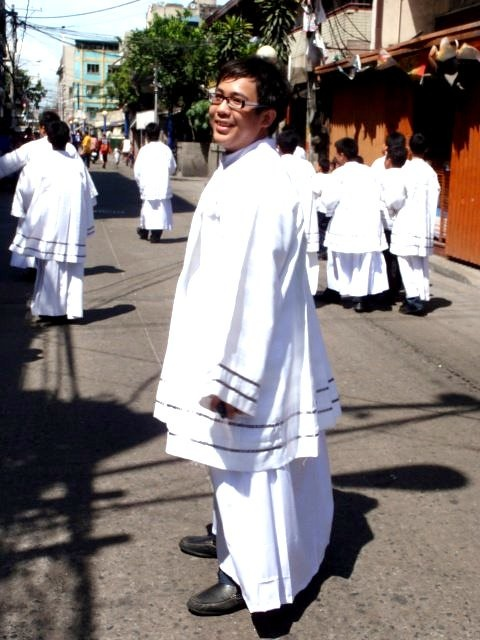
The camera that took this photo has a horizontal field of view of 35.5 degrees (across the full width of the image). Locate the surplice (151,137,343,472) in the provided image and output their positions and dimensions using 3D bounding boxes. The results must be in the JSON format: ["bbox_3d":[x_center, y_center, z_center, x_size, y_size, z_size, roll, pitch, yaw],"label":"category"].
[{"bbox_3d":[0.020,-0.068,2.661,0.764,1.284,0.967,3,10,2],"label":"surplice"}]

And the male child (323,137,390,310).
[{"bbox_3d":[1.267,-1.443,8.136,0.640,0.722,1.777,11,48,-7],"label":"male child"}]

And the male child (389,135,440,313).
[{"bbox_3d":[1.768,-0.979,7.720,0.465,1.834,0.549,3,10,13],"label":"male child"}]

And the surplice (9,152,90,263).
[{"bbox_3d":[-1.720,-1.016,6.745,0.651,1.008,0.418,0,10,-1],"label":"surplice"}]

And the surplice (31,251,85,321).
[{"bbox_3d":[-1.633,-0.303,6.737,0.514,0.622,0.322,6,1,4],"label":"surplice"}]

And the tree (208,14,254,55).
[{"bbox_3d":[-0.208,-8.119,21.227,0.739,0.988,0.700,-12,17,-11],"label":"tree"}]
